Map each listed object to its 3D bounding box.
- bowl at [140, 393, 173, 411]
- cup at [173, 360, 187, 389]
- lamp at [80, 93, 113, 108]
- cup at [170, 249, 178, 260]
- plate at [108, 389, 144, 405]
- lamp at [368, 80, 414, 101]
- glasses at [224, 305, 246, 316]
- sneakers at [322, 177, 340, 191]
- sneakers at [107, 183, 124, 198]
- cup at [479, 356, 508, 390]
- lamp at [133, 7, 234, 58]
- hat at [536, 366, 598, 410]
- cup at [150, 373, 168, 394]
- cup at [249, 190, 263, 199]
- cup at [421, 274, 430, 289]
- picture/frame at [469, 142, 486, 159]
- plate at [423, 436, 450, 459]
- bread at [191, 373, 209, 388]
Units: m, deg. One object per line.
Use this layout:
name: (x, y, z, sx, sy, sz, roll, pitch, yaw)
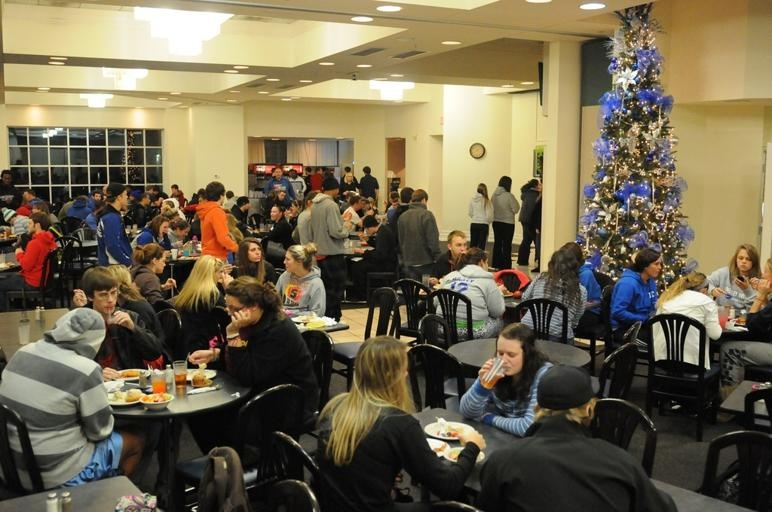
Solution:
bowl: (-1.531, 0.991, 3.974, 0.203, 0.077, 0.181, -3, 5, -23)
cup: (-1.480, 0.856, 4.247, 0.076, 0.166, 0.145, -3, 6, -24)
lamp: (-7.842, -4.243, 15.992, 0.940, 0.408, 0.913, -2, 6, -18)
cup: (-3.112, -0.021, 8.848, 0.149, 0.157, 0.127, -1, -6, 13)
plate: (-1.776, 0.968, 4.050, 0.245, 0.088, 0.216, -2, 5, -17)
lamp: (0.067, -4.042, 14.068, 0.738, 0.394, 1.877, 0, 5, 10)
glasses: (-1.092, 0.387, 4.277, 0.105, 0.070, 0.136, 4, -7, 1)
sneakers: (-0.822, -1.082, 8.892, 0.225, 0.185, 0.233, -1, 5, -4)
sneakers: (-3.691, -0.895, 8.039, 0.193, 0.195, 0.120, 16, -31, 29)
cup: (0.668, 0.745, 3.721, 0.141, 0.169, 0.109, -1, 5, -8)
lamp: (-2.426, -2.650, 6.996, 1.165, 0.521, 0.729, 1, 0, -20)
hat: (0.897, 0.621, 2.924, 0.186, 0.134, 0.251, 8, 17, 43)
cup: (-1.567, 0.879, 4.065, 0.096, 0.142, 0.052, 1, 5, 14)
cup: (-4.242, -2.012, 19.271, 0.524, 0.357, 0.280, -1, -6, 0)
cup: (0.523, 0.318, 7.462, 0.130, 0.201, 0.133, 0, -1, 0)
picture/frame: (2.396, -2.750, 15.435, 0.407, 0.405, 0.095, 42, 17, 21)
plate: (0.311, 1.147, 3.531, 0.161, 0.023, 0.158, 6, 20, 6)
bread: (-1.343, 0.916, 4.303, 0.087, 0.039, 0.086, -3, 3, -23)
